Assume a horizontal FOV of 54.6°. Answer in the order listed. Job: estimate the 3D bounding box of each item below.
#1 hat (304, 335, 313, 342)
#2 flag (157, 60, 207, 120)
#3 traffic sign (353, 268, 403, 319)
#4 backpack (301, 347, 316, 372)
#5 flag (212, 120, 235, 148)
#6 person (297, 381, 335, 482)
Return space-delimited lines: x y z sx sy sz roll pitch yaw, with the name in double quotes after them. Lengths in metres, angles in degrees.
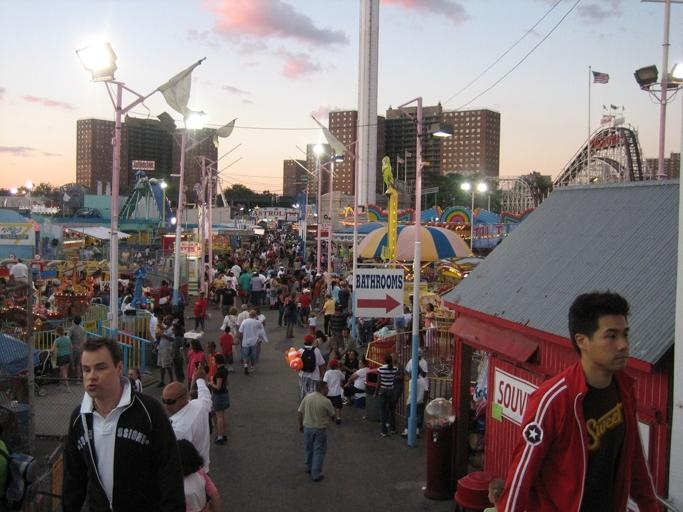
-0.781 1.991 15.851 0.159 0.183 0.335 3 3 -7 "hat"
-5.393 -5.597 22.159 0.744 1.387 1.533 3 2 -1 "flag"
0.817 0.803 14.370 0.951 1.031 0.109 -1 3 -4 "traffic sign"
-0.762 2.453 15.665 0.330 0.610 0.218 3 2 -6 "backpack"
-6.172 -6.250 34.613 0.903 1.191 8.901 3 3 -12 "flag"
-0.478 3.263 12.466 0.594 1.718 0.706 2 2 -12 "person"
